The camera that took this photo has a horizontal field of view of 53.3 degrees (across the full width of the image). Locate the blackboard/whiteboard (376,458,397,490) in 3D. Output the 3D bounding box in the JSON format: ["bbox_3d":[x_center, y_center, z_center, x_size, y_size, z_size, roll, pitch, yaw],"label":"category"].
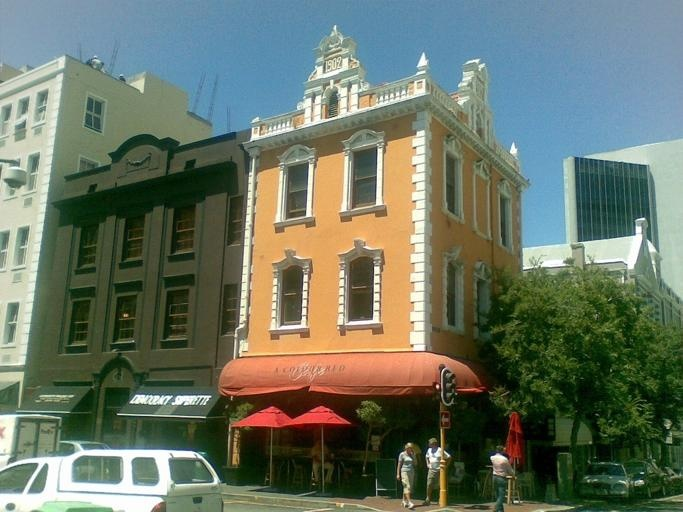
[{"bbox_3d":[1.734,8.285,25.762,1.030,1.441,0.056,-8,-24,25],"label":"blackboard/whiteboard"}]

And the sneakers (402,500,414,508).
[{"bbox_3d":[2.349,8.653,23.625,0.150,0.184,0.431,6,-23,-25],"label":"sneakers"}]

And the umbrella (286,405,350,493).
[{"bbox_3d":[-0.815,7.188,26.466,3.176,3.449,3.068,0,-30,-3],"label":"umbrella"}]
